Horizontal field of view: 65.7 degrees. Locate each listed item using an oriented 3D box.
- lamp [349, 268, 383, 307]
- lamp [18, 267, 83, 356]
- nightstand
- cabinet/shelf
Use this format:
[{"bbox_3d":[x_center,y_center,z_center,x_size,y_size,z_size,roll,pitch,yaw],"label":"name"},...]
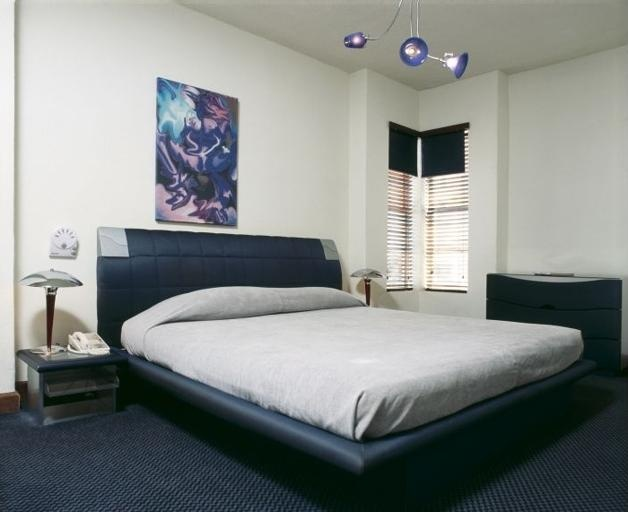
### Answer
[{"bbox_3d":[0.545,0.315,5.115,0.358,0.440,0.375,0,3,-4],"label":"lamp"},{"bbox_3d":[-1.794,0.358,3.267,0.324,0.546,0.468,-4,6,-39],"label":"lamp"},{"bbox_3d":[-1.636,0.781,3.221,0.459,0.386,0.511,3,-4,-43],"label":"nightstand"},{"bbox_3d":[1.981,0.524,3.847,0.268,0.605,0.837,3,-3,-42],"label":"cabinet/shelf"}]
